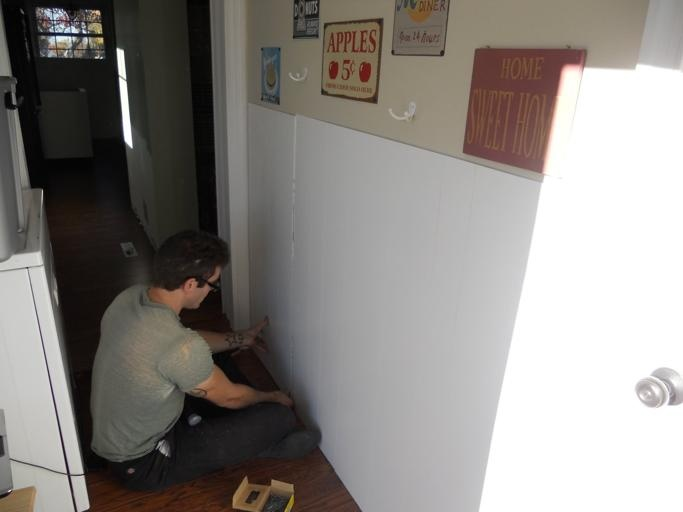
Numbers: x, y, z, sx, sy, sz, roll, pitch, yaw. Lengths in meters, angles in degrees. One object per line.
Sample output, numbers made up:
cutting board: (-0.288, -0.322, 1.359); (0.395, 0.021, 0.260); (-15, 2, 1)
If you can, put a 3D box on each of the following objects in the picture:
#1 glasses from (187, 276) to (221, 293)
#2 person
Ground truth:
glasses: (-0.551, 0.109, 1.953); (0.121, 0.040, 0.109); (26, 19, 25)
person: (-0.562, 0.413, 2.224); (0.755, 1.038, 0.993); (19, 23, 27)
